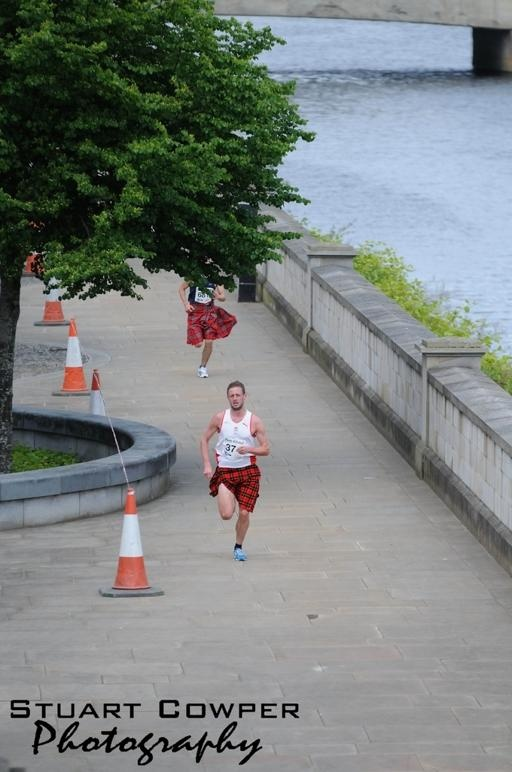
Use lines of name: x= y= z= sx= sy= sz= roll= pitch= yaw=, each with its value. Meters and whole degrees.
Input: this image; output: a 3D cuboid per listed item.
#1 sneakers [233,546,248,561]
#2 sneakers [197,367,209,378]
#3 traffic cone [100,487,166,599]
sneakers: x=-0.116 y=1.287 z=9.983 sx=0.080 sy=0.042 sz=0.111 roll=-5 pitch=27 yaw=-12
sneakers: x=-0.738 y=-0.161 z=18.287 sx=0.161 sy=0.193 sz=0.458 roll=0 pitch=2 yaw=-9
traffic cone: x=-0.849 y=1.058 z=9.066 sx=0.432 sy=0.771 sz=0.406 roll=1 pitch=10 yaw=-6
